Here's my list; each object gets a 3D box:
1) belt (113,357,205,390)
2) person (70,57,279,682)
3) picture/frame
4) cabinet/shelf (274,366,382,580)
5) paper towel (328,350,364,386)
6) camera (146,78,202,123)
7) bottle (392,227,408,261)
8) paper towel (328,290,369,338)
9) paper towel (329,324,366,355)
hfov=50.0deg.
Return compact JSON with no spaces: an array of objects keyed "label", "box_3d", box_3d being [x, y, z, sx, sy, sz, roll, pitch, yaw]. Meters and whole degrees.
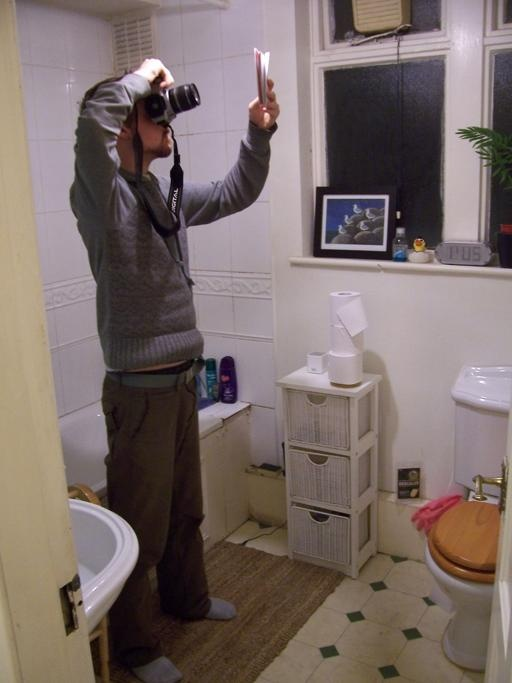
[{"label":"belt","box_3d":[-0.308,0.107,1.724,0.299,0.069,0.103,-4,11,-16]},{"label":"person","box_3d":[-0.278,0.122,1.793,0.402,1.882,0.733,8,13,41]},{"label":"picture/frame","box_3d":[0.422,-0.512,2.342,0.282,0.288,0.022,6,5,26]},{"label":"cabinet/shelf","box_3d":[0.281,0.542,2.354,0.300,0.816,0.238,3,14,16]},{"label":"paper towel","box_3d":[0.344,0.109,2.136,0.114,0.129,0.126,1,13,8]},{"label":"camera","box_3d":[-0.229,-0.658,1.550,0.115,0.076,0.117,-19,21,16]},{"label":"bottle","box_3d":[0.592,-0.400,2.260,0.061,0.137,0.056,-1,10,0]},{"label":"paper towel","box_3d":[0.359,-0.108,2.185,0.144,0.161,0.155,10,18,33]},{"label":"paper towel","box_3d":[0.344,0.001,2.118,0.105,0.120,0.106,4,10,19]}]
